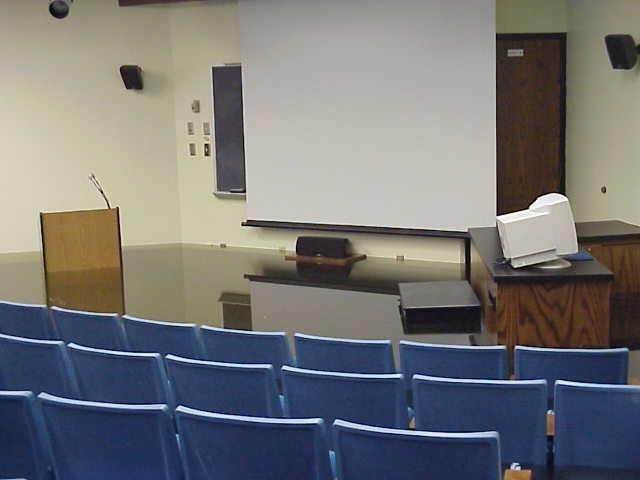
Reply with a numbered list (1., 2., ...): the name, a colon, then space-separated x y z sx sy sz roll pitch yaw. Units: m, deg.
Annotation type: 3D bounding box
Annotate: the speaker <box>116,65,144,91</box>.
1. speaker: -2.782 -2.388 8.659 0.346 0.329 0.319 -2 1 -10
